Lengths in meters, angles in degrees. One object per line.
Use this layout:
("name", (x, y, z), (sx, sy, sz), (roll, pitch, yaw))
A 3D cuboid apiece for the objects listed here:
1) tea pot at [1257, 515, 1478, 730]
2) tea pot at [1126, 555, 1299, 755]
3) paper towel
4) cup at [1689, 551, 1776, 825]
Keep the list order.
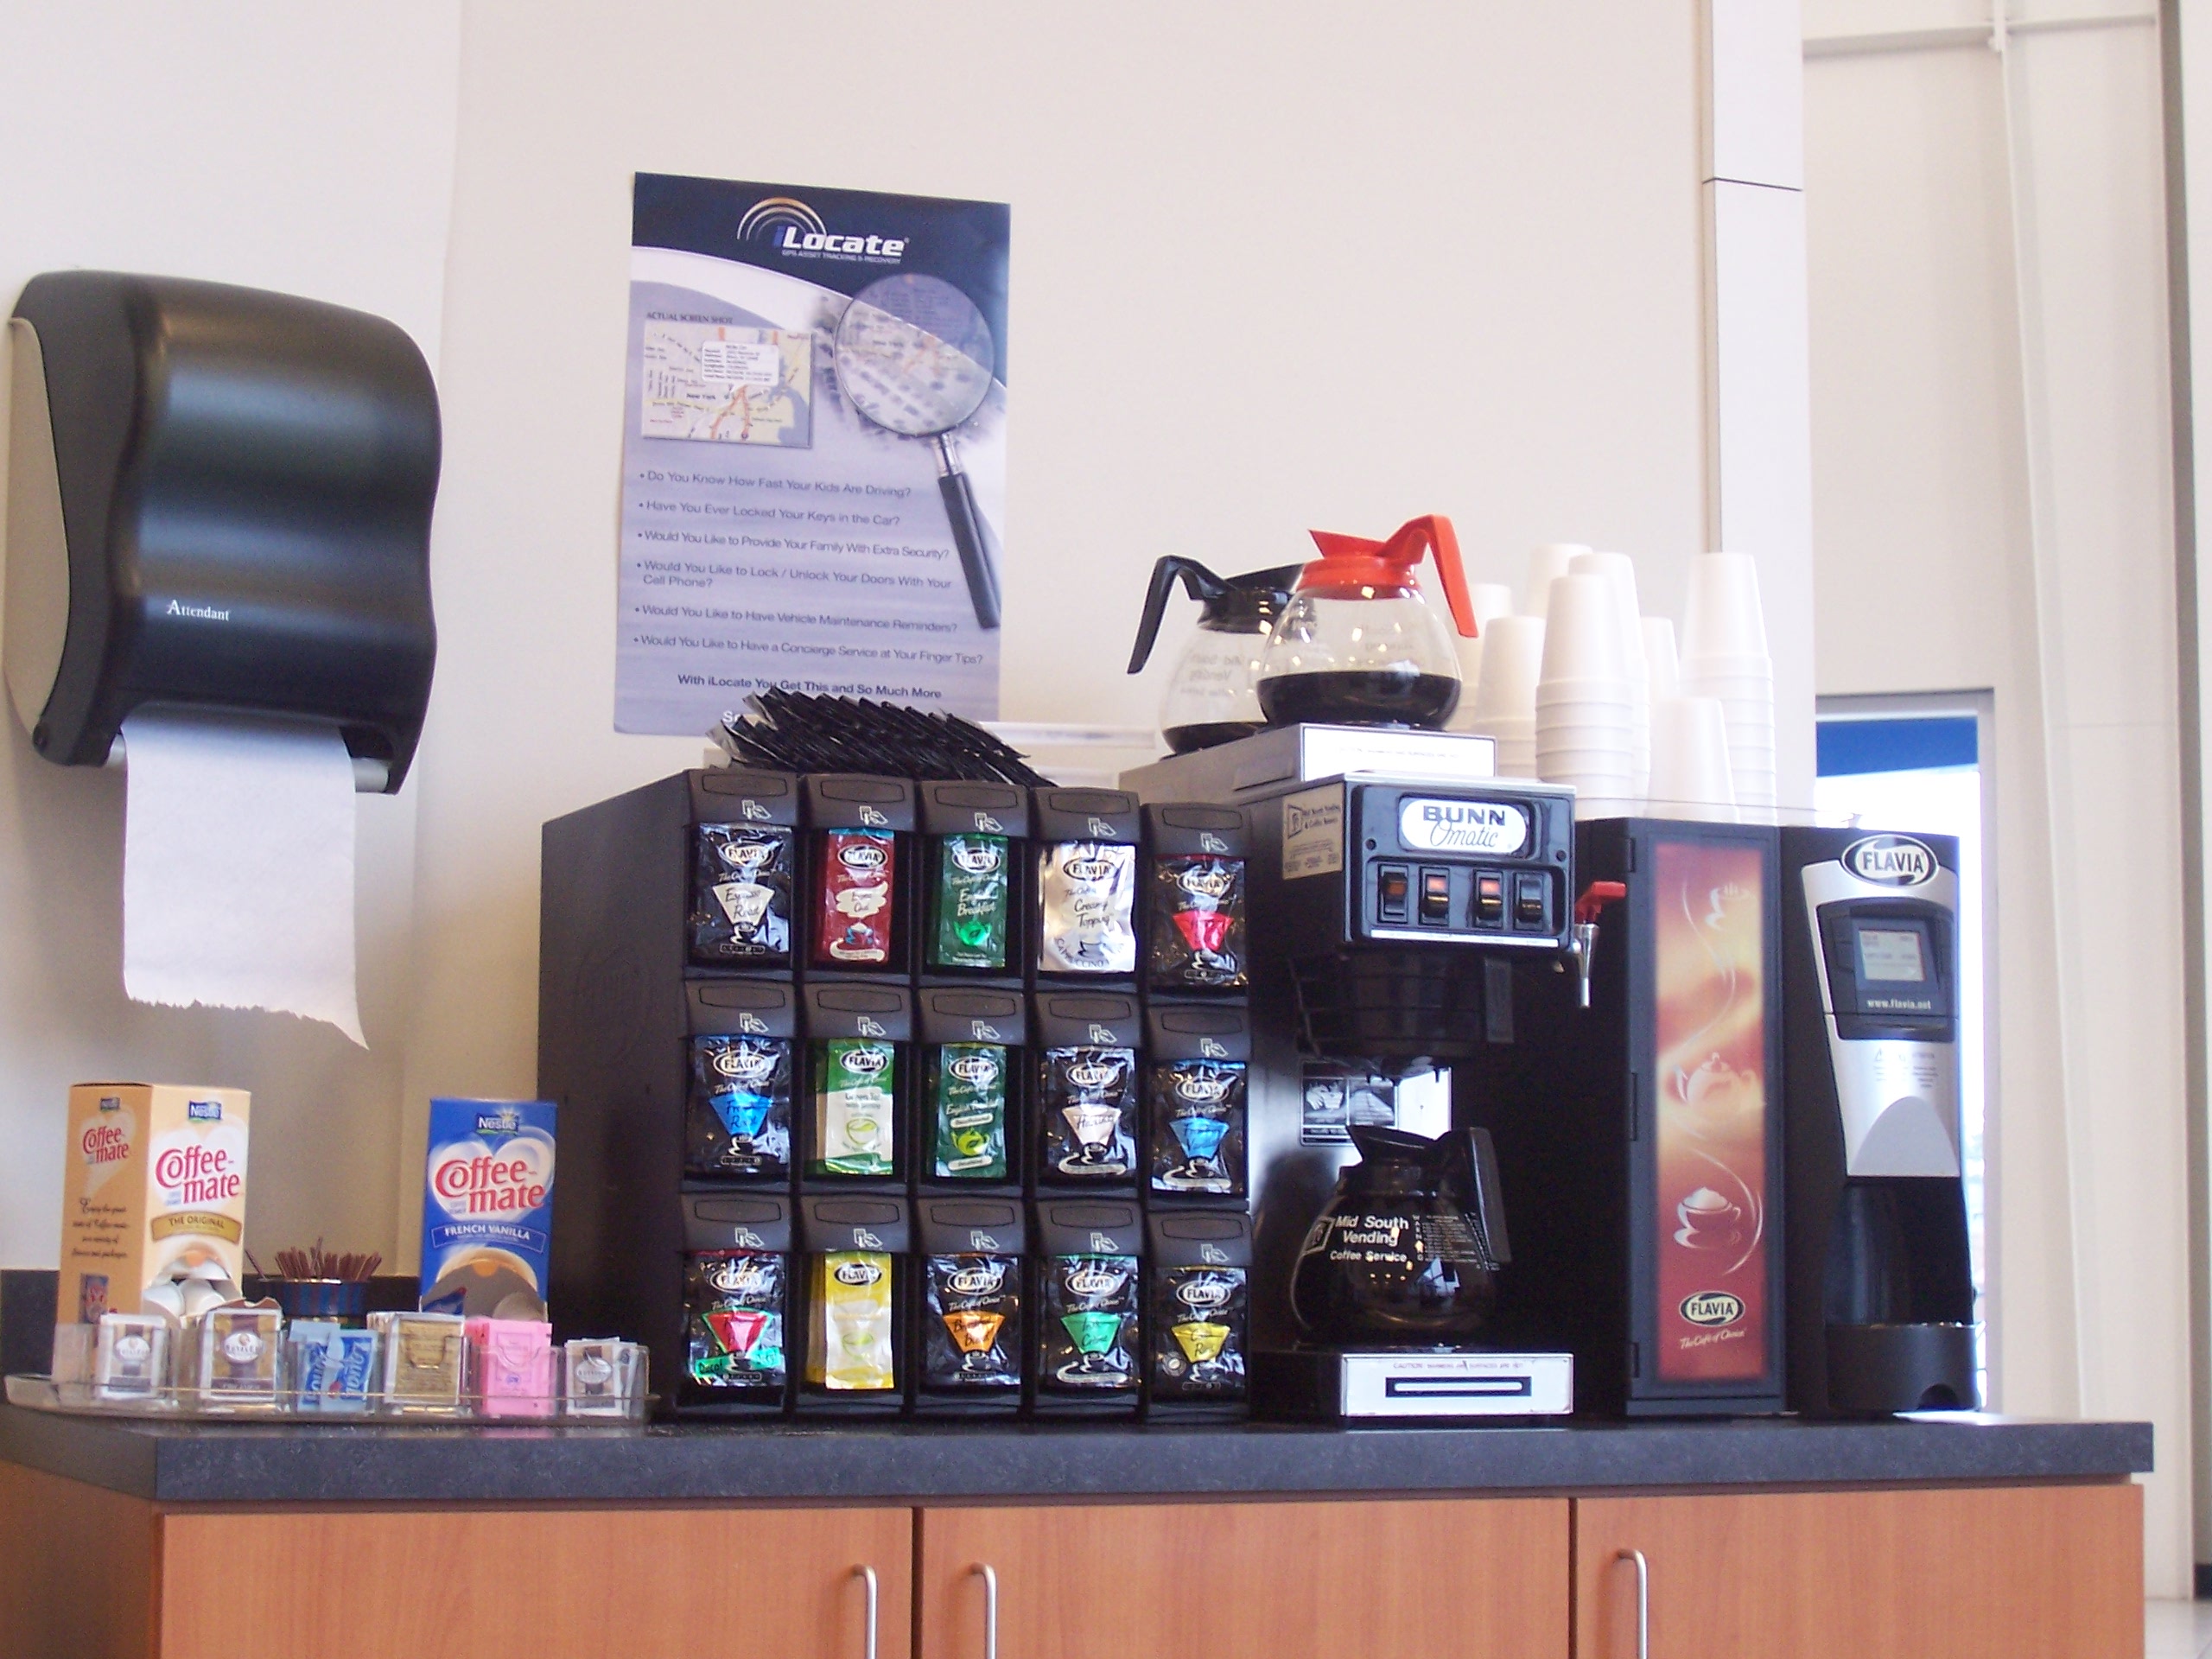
("tea pot", (0.296, -0.245, 3.756), (0.271, 0.279, 0.217), (2, -7, 0))
("tea pot", (0.135, -0.217, 3.827), (0.254, 0.275, 0.181), (-1, -3, 20))
("paper towel", (-1.064, -0.214, 3.690), (0.496, 0.904, 0.256), (2, -9, -22))
("cup", (0.773, -0.183, 3.863), (0.104, 0.355, 0.231), (-3, -9, 10))
